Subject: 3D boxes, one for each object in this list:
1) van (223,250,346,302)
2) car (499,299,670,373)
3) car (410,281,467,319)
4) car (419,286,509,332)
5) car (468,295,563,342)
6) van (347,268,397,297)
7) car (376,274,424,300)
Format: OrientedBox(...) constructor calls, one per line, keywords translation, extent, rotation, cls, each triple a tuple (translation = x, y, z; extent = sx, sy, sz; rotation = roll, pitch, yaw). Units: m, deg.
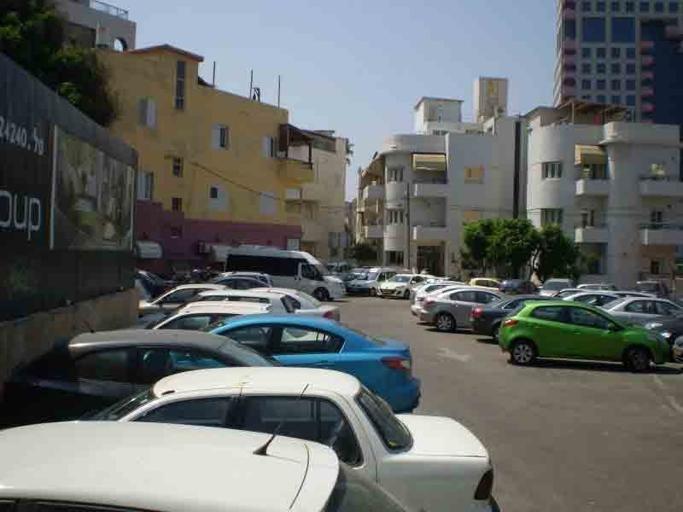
OrientedBox(translation=(-2.685, 0.965, 37.054), extent=(5.220, 2.489, 2.463), rotation=(-1, 4, -6), cls="van")
OrientedBox(translation=(5.906, 1.912, 19.364), extent=(3.332, 1.521, 1.782), rotation=(-1, -1, 7), cls="car")
OrientedBox(translation=(3.671, 1.672, 30.145), extent=(2.380, 1.037, 1.142), rotation=(-5, 3, -9), cls="car")
OrientedBox(translation=(3.937, 1.781, 25.358), extent=(2.546, 1.061, 1.229), rotation=(-5, 4, -4), cls="car")
OrientedBox(translation=(4.993, 1.777, 22.801), extent=(2.404, 0.899, 1.147), rotation=(-4, 0, -2), cls="car")
OrientedBox(translation=(1.722, 1.578, 46.364), extent=(1.434, 1.169, 2.531), rotation=(-3, -4, 40), cls="van")
OrientedBox(translation=(3.212, 1.689, 43.821), extent=(1.216, 0.844, 2.346), rotation=(-3, -7, 30), cls="car")
